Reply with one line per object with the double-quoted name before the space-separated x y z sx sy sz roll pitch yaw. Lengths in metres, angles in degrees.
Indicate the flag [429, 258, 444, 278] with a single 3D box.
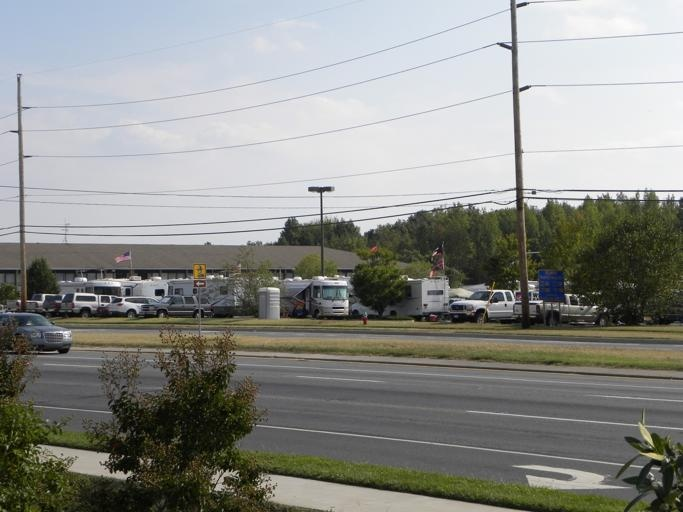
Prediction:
"flag" 10.067 1.340 98.745 1.751 0.717 5.066 14 -9 9
